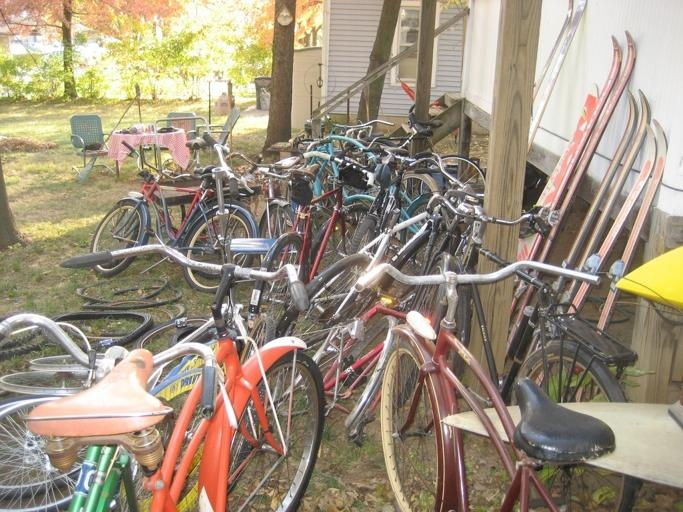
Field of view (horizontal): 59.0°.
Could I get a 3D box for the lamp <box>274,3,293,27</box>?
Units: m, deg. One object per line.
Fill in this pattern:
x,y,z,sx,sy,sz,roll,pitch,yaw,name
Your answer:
-1.072,-4.497,11.300,0.329,0.410,0.119,-2,19,-7,lamp
